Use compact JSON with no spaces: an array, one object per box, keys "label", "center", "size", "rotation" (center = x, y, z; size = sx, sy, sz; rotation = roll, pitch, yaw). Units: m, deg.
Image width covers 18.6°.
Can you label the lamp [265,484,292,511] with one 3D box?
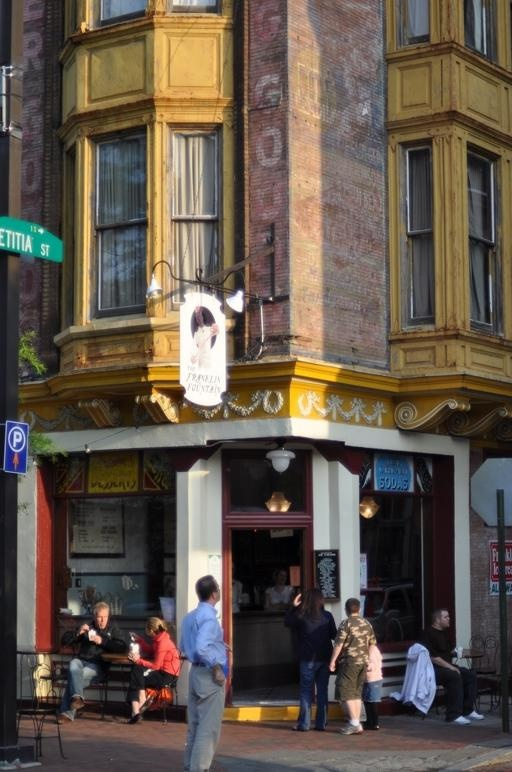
[{"label":"lamp","center":[0.267,1.350,18.314],"size":[0.232,0.270,0.211],"rotation":[2,-19,0]}]

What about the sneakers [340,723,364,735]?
[{"label":"sneakers","center":[1.032,3.698,16.819],"size":[0.217,0.149,0.105],"rotation":[1,-6,-7]}]

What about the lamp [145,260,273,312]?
[{"label":"lamp","center":[-0.456,-1.102,17.654],"size":[0.885,0.473,0.782],"rotation":[4,-2,3]}]

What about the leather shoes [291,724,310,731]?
[{"label":"leather shoes","center":[0.477,3.725,16.975],"size":[0.176,0.095,0.067],"rotation":[1,-4,42]}]

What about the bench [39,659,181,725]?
[{"label":"bench","center":[-1.818,3.558,18.250],"size":[1.376,0.870,0.446],"rotation":[6,-7,-34]}]

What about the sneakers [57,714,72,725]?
[{"label":"sneakers","center":[-2.120,3.741,17.498],"size":[0.232,0.104,0.183],"rotation":[5,-10,-30]}]

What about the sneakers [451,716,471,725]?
[{"label":"sneakers","center":[2.321,3.807,17.685],"size":[0.200,0.119,0.086],"rotation":[0,-3,12]}]

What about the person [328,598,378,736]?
[{"label":"person","center":[0.989,3.043,16.946],"size":[0.347,1.447,0.792],"rotation":[-6,-9,40]}]

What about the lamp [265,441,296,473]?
[{"label":"lamp","center":[0.286,0.824,17.715],"size":[0.284,0.415,0.330],"rotation":[1,-10,-7]}]

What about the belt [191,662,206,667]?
[{"label":"belt","center":[-0.486,2.346,13.118],"size":[0.055,0.057,0.177],"rotation":[6,-11,-37]}]

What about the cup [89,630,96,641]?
[{"label":"cup","center":[-1.862,2.865,17.905],"size":[0.075,0.111,0.107],"rotation":[1,-8,-11]}]

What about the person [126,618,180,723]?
[{"label":"person","center":[-1.156,3.252,17.815],"size":[0.580,1.177,0.844],"rotation":[1,-8,-6]}]

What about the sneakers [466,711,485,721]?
[{"label":"sneakers","center":[2.517,3.813,17.975],"size":[0.178,0.092,0.374],"rotation":[-1,-9,9]}]

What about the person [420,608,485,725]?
[{"label":"person","center":[2.235,3.232,18.047],"size":[0.443,1.326,0.630],"rotation":[5,-13,-31]}]

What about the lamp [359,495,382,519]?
[{"label":"lamp","center":[1.382,1.499,19.162],"size":[0.083,0.294,0.473],"rotation":[-4,-9,30]}]

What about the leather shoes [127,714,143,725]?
[{"label":"leather shoes","center":[-1.362,3.762,17.587],"size":[0.153,0.111,0.238],"rotation":[1,-9,-6]}]
